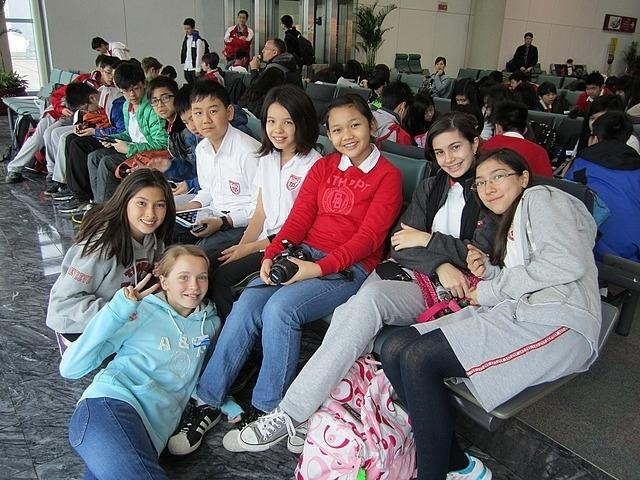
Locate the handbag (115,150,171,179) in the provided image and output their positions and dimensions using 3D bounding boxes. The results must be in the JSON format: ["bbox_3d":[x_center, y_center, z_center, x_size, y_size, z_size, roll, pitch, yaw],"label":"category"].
[{"bbox_3d":[-1.469,-0.558,3.627,0.368,0.137,0.287,-24,7,8],"label":"handbag"}]

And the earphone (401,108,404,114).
[{"bbox_3d":[0.765,-1.180,3.977,0.030,0.034,0.026,-12,53,-1],"label":"earphone"}]

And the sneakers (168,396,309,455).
[{"bbox_3d":[-0.327,0.707,1.825,0.409,0.140,0.280,5,6,20],"label":"sneakers"}]

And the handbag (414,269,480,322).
[{"bbox_3d":[0.558,0.255,1.951,0.250,0.101,0.202,-15,65,-5],"label":"handbag"}]

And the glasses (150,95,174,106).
[{"bbox_3d":[-1.285,-1.147,3.551,0.118,0.039,0.121,-5,21,4],"label":"glasses"}]

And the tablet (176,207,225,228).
[{"bbox_3d":[-0.760,-0.144,2.680,0.175,0.042,0.181,-16,25,-38],"label":"tablet"}]
